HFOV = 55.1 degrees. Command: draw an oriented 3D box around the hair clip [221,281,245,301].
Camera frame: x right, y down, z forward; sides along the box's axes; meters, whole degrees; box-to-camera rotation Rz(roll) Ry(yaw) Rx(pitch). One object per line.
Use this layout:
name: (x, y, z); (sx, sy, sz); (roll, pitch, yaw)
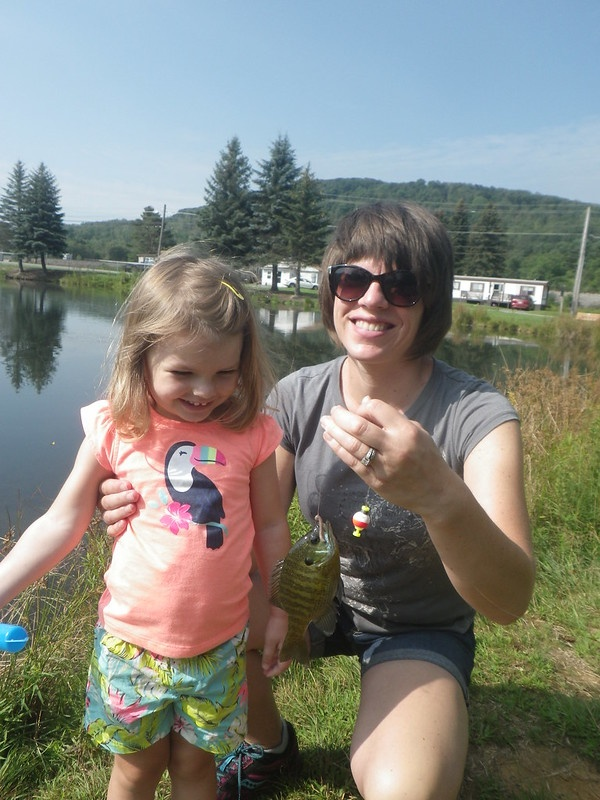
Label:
hair clip: (-0.219, -0.355, 1.854); (0.078, 0.013, 0.052); (36, 24, -18)

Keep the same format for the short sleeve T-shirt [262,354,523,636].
short sleeve T-shirt: (0.278, 0.337, 2.131); (0.954, 0.899, 0.516); (3, 9, 32)

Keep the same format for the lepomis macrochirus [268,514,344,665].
lepomis macrochirus: (0.024, 0.636, 1.832); (0.260, 0.514, 0.084); (17, 14, 27)

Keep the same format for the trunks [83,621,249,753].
trunks: (-0.367, 0.795, 1.716); (0.474, 0.399, 0.287); (4, 7, -2)

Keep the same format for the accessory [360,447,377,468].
accessory: (0.167, 0.140, 1.412); (0.012, 0.038, 0.040); (31, -6, -4)
